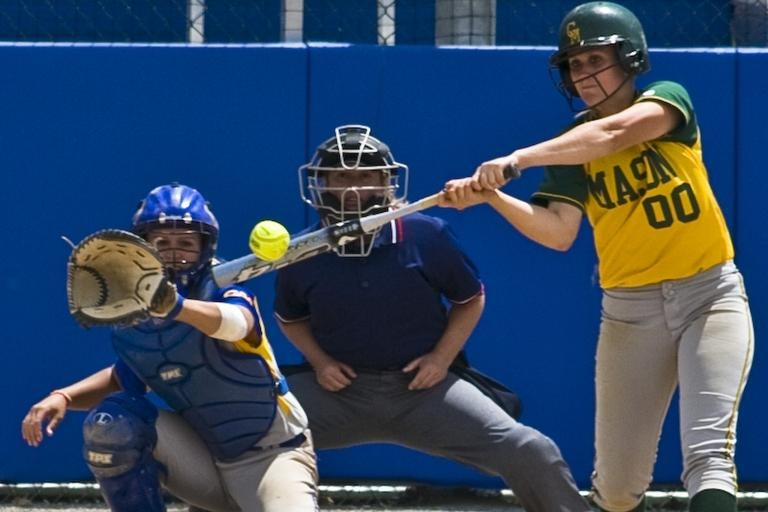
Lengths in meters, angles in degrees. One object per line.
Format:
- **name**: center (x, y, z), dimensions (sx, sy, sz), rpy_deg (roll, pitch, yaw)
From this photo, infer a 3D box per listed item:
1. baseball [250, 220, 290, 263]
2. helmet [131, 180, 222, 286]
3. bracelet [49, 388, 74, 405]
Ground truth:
- **baseball**: center (-0.526, -0.092, 6.918), dimensions (0.196, 0.174, 0.180), rpy_deg (15, 30, 17)
- **helmet**: center (-0.949, -0.118, 6.862), dimensions (0.424, 0.452, 0.490), rpy_deg (0, -5, -4)
- **bracelet**: center (-1.538, 0.662, 6.965), dimensions (0.079, 0.030, 0.079), rpy_deg (32, 12, 10)
